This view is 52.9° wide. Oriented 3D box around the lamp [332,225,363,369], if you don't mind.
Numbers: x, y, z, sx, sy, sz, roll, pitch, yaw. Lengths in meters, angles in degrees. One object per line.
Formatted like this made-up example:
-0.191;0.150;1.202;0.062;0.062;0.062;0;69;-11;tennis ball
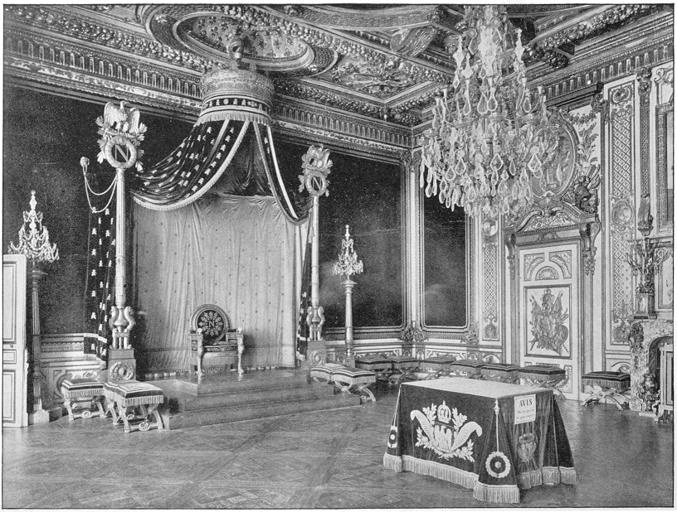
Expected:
0.145;0.669;12.344;0.572;2.603;0.971;-1;-5;5;lamp

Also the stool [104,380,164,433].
-2.756;2.048;9.266;0.698;0.622;0.818;3;-7;-30;stool

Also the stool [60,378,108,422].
-3.608;2.003;9.622;0.603;0.554;0.546;2;-5;-29;stool

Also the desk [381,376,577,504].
1.499;1.990;7.311;1.933;1.151;0.735;-3;-6;24;desk

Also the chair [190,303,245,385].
-1.989;1.380;11.160;0.868;1.185;0.860;2;-6;-26;chair

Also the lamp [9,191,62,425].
-4.300;0.674;9.591;0.678;3.292;0.482;2;-5;-30;lamp
